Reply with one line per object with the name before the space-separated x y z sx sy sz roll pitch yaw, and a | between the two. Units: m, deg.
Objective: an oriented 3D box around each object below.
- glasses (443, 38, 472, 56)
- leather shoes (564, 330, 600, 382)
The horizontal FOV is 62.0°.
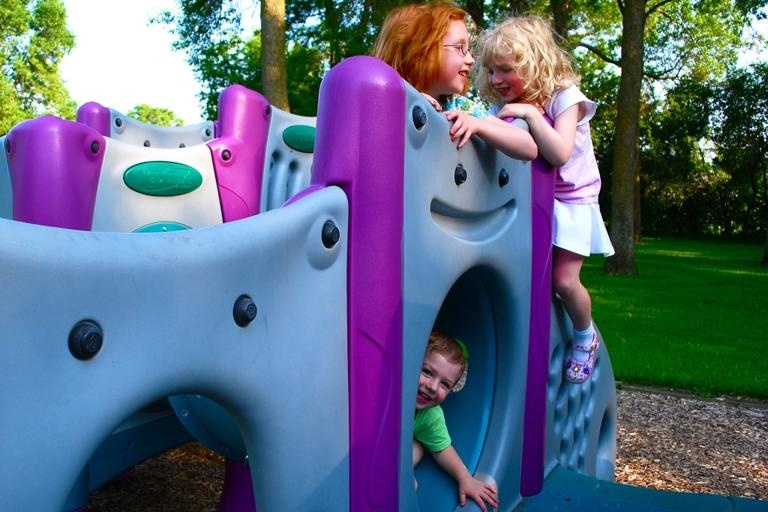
glasses | 0.243 -0.655 2.007 0.057 0.020 0.058 1 2 30
leather shoes | 0.764 0.394 2.461 0.090 0.279 0.097 8 -21 23
